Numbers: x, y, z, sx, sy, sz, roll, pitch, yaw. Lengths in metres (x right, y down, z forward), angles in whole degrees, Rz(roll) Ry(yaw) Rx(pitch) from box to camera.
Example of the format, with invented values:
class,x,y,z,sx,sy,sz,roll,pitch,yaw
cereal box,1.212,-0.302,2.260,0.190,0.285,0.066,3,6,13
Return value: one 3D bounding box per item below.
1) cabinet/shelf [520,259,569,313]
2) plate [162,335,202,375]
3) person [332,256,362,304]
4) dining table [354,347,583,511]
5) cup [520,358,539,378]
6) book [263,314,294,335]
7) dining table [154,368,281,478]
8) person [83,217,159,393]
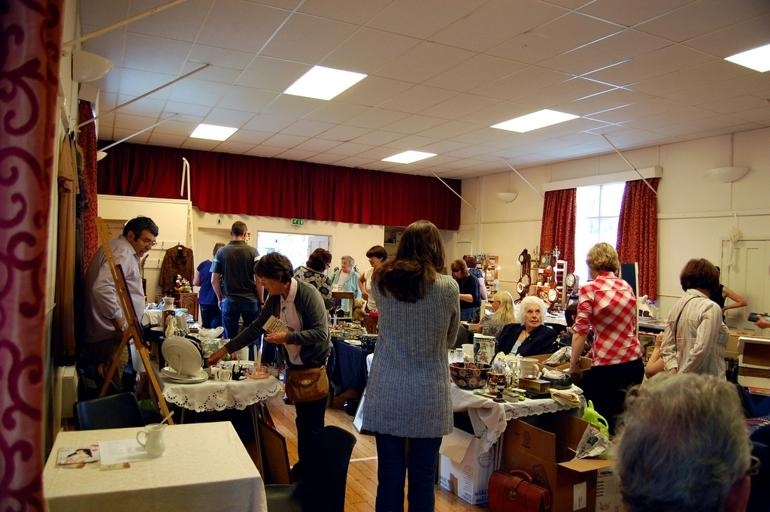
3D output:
class,x,y,z,sx,sy,sz,roll,pitch,yaw
cabinet/shelf,2.614,0.487,8.609,0.843,1.174,0.873,1,0,7
plate,-1.391,0.678,3.629,0.274,0.269,0.222,1,1,-10
person,-0.625,0.389,8.452,0.500,0.964,0.330,-6,-19,21
dining table,0.614,1.337,3.919,1.180,0.781,1.546,3,-2,-24
cup,1.079,0.847,4.001,0.104,0.156,0.155,2,-1,-20
book,-0.736,0.435,3.569,0.171,0.113,0.049,45,-2,-29
dining table,-1.222,1.126,3.877,0.668,0.535,0.668,1,-6,-25
person,-1.949,0.354,3.873,0.455,1.318,0.785,1,1,-18
